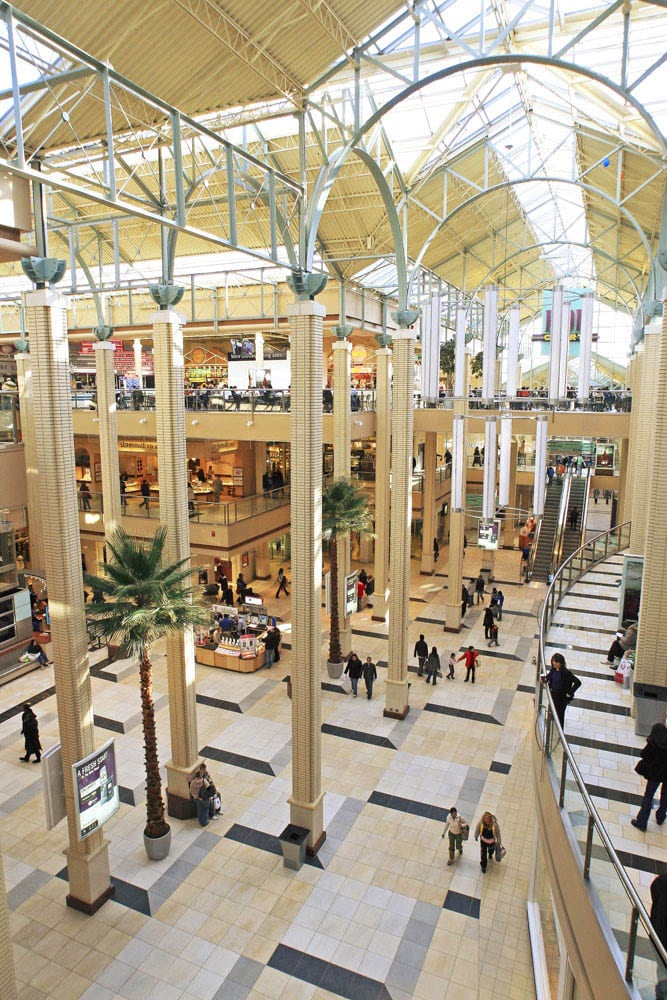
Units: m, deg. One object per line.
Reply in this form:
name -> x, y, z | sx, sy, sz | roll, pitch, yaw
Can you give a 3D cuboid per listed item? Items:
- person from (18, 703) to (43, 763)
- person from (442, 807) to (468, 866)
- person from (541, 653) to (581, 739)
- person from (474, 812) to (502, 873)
person -> -6.428, 4.886, 14.934 | 0.392, 1.410, 0.969 | -4, 9, -25
person -> 2.005, 5.500, 11.757 | 0.356, 1.076, 0.590 | 0, 8, 2
person -> 3.223, 2.866, 10.179 | 0.464, 1.326, 0.970 | 4, 9, 25
person -> 2.515, 5.541, 11.542 | 0.378, 1.086, 0.519 | 6, 10, 33
